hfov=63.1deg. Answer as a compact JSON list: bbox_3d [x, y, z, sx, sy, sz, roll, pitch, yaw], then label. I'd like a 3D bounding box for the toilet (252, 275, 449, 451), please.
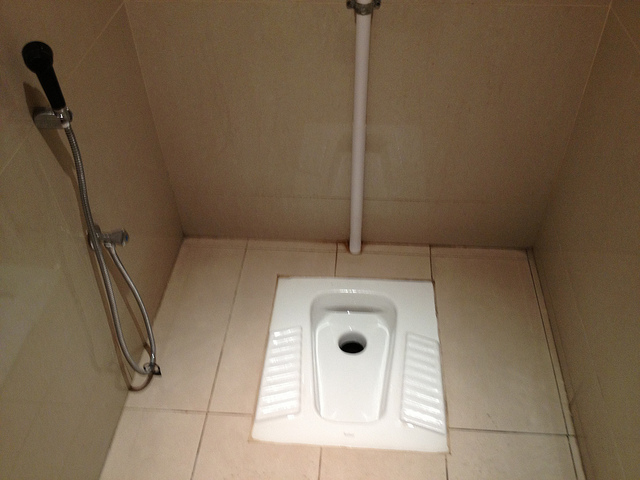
[{"bbox_3d":[0.139,0.503,2.163,0.631,0.925,0.514,4,-54,2],"label":"toilet"}]
